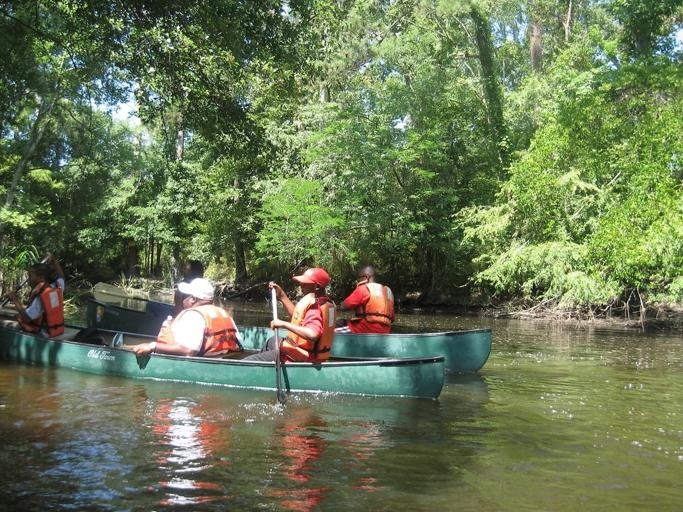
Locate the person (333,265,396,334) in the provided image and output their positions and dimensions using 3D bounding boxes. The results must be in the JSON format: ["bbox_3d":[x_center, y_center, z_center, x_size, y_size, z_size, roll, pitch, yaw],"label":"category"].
[{"bbox_3d":[0.360,0.877,11.926,1.220,1.324,1.106,2,-7,-5],"label":"person"}]

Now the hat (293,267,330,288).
[{"bbox_3d":[-0.411,0.302,9.360,0.419,0.232,0.276,6,-1,-1],"label":"hat"}]

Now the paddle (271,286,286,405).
[{"bbox_3d":[-1.013,1.442,10.299,0.126,1.683,0.130,-1,8,8],"label":"paddle"}]

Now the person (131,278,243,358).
[{"bbox_3d":[-2.310,1.005,9.948,1.201,0.964,1.348,7,6,28],"label":"person"}]

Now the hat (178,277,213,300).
[{"bbox_3d":[-2.174,0.469,9.577,0.528,0.276,0.360,15,1,14],"label":"hat"}]
